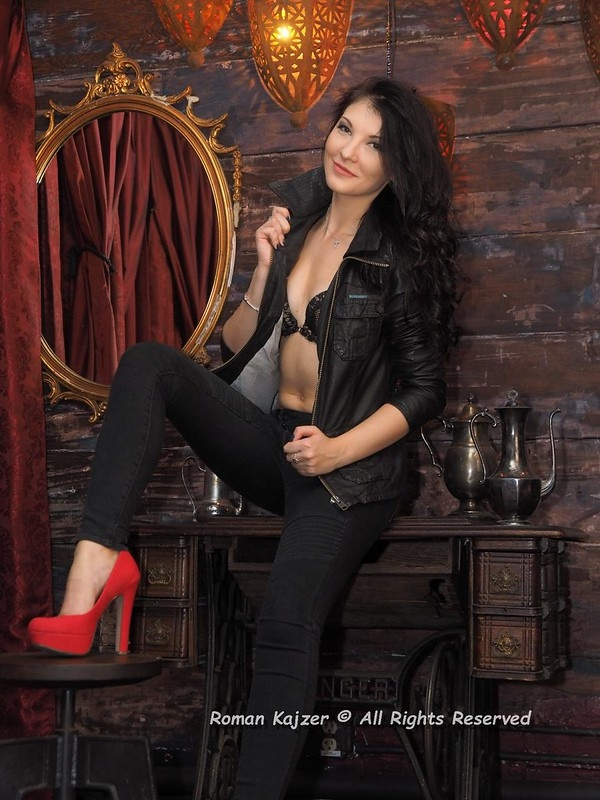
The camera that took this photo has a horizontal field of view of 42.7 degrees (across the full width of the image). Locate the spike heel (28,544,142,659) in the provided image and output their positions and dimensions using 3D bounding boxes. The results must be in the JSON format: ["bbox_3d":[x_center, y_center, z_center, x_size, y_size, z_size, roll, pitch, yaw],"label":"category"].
[{"bbox_3d":[-0.353,0.365,1.311,0.085,0.223,0.240,8,9,25],"label":"spike heel"}]

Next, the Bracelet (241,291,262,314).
[{"bbox_3d":[-0.117,-0.220,1.755,0.042,0.015,0.037,38,-11,-17],"label":"Bracelet"}]

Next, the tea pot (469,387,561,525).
[{"bbox_3d":[0.497,0.151,1.814,0.202,0.340,0.398,6,8,16],"label":"tea pot"}]

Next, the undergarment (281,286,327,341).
[{"bbox_3d":[0.010,-0.194,1.673,0.140,0.117,0.100,6,11,21],"label":"undergarment"}]
